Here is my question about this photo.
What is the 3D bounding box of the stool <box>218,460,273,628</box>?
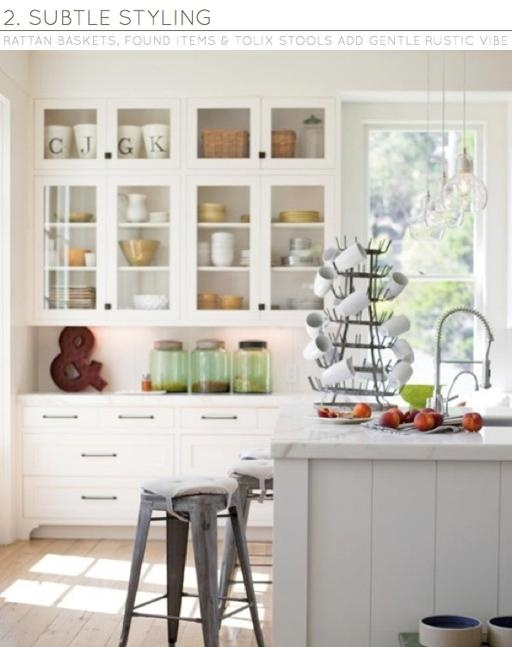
[{"bbox_3d":[-0.046,0.779,2.849,0.318,0.611,0.311,0,2,-2],"label":"stool"}]

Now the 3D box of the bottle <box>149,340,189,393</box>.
[{"bbox_3d":[-0.499,0.259,4.310,0.287,0.359,0.282,0,-6,0],"label":"bottle"}]

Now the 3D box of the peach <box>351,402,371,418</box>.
[{"bbox_3d":[0.342,0.287,2.441,0.050,0.051,0.043,3,29,30],"label":"peach"}]

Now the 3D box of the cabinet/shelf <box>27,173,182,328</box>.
[{"bbox_3d":[-0.854,-0.395,4.378,0.918,0.801,0.258,0,3,-3],"label":"cabinet/shelf"}]

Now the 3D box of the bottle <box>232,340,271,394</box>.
[{"bbox_3d":[-0.026,0.247,4.248,0.215,0.292,0.123,0,0,-1],"label":"bottle"}]

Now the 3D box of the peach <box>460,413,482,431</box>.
[{"bbox_3d":[0.615,0.278,2.178,0.057,0.047,0.050,19,-6,-3],"label":"peach"}]

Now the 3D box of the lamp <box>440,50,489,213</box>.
[{"bbox_3d":[1.107,-1.041,4.002,0.204,0.994,0.288,2,7,9],"label":"lamp"}]

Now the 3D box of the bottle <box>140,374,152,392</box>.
[{"bbox_3d":[-0.622,0.338,4.307,0.053,0.090,0.098,0,0,-8],"label":"bottle"}]

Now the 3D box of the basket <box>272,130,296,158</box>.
[{"bbox_3d":[0.148,-0.990,4.194,0.175,0.147,0.090,0,-2,-1],"label":"basket"}]

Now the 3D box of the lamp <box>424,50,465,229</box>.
[{"bbox_3d":[1.006,-1.005,4.021,0.144,1.035,0.240,-1,6,-2],"label":"lamp"}]

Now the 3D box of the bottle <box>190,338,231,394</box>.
[{"bbox_3d":[-0.258,0.243,4.266,0.232,0.295,0.195,0,0,-4],"label":"bottle"}]

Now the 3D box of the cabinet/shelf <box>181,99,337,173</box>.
[{"bbox_3d":[0.040,-1.040,4.187,0.872,0.356,0.257,2,4,2],"label":"cabinet/shelf"}]
